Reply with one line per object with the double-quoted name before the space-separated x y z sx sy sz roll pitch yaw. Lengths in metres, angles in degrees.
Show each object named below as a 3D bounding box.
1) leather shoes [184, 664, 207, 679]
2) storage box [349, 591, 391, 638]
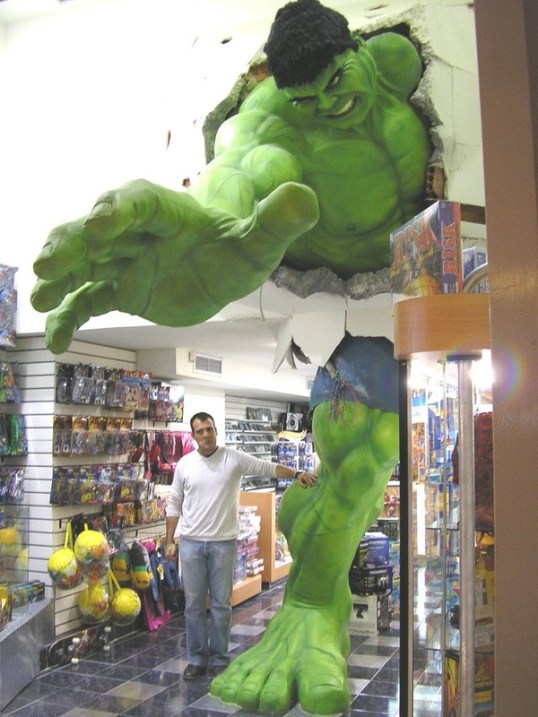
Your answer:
"leather shoes" -0.427 1.786 3.548 0.051 0.064 0.150 1 -27 8
"storage box" 0.720 1.813 4.522 0.331 0.347 0.338 -1 -17 0
